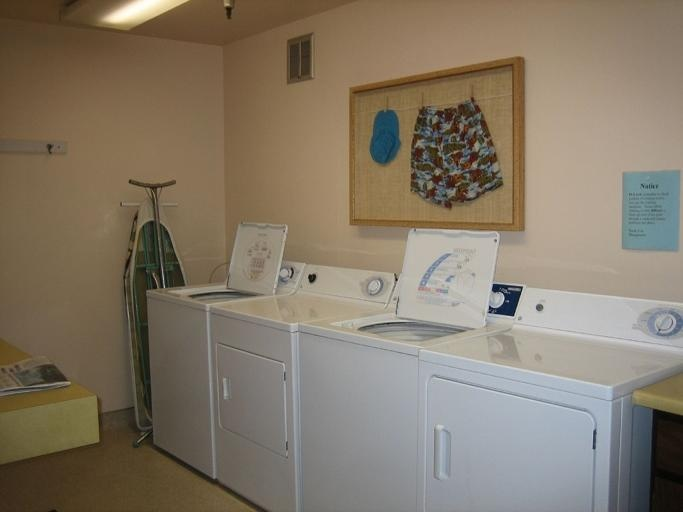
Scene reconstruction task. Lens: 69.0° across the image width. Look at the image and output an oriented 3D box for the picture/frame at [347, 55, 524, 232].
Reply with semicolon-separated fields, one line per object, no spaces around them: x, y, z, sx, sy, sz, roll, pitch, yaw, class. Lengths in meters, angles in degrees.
0.580;-0.660;2.904;1.047;0.872;0.085;1;3;41;picture/frame
